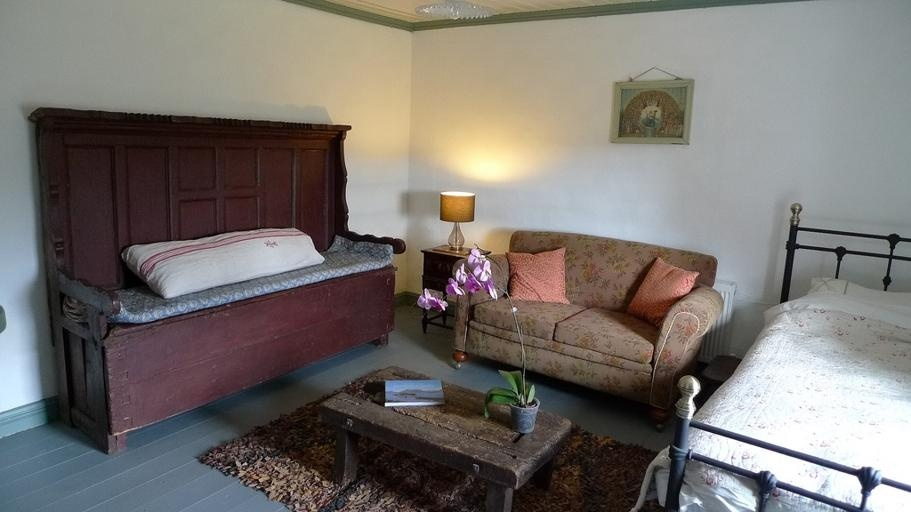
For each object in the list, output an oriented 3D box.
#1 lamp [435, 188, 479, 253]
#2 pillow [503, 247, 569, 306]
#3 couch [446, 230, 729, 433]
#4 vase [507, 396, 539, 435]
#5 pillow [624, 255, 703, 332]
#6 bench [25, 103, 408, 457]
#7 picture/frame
[{"bbox_3d":[0.005,-0.364,6.200,0.552,0.593,0.538,4,9,12],"label":"lamp"},{"bbox_3d":[0.788,0.220,5.535,0.567,0.511,0.197,1,-15,0],"label":"pillow"},{"bbox_3d":[1.203,0.569,5.516,2.455,1.401,1.184,9,14,35],"label":"couch"},{"bbox_3d":[0.466,1.104,3.970,0.221,0.162,0.203,-2,6,-24],"label":"vase"},{"bbox_3d":[1.922,0.304,5.196,0.192,0.682,0.732,28,-14,-18],"label":"pillow"},{"bbox_3d":[-1.927,-0.013,5.282,1.140,2.291,3.055,16,18,30],"label":"bench"},{"bbox_3d":[1.940,-1.400,5.526,0.687,0.547,0.050,6,7,23],"label":"picture/frame"}]
